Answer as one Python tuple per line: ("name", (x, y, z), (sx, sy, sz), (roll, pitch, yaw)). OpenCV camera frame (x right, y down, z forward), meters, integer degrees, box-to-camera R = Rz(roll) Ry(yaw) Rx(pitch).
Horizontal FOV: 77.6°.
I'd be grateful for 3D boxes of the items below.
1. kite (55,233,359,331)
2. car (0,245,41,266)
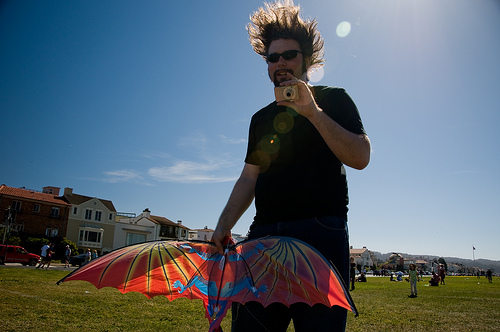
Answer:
("kite", (-0.262, 0.952, 2.634), (2.152, 0.731, 0.577), (0, -15, 9))
("car", (-19.043, 7.360, 25.459), (1.544, 1.609, 2.995), (-4, -16, 23))
